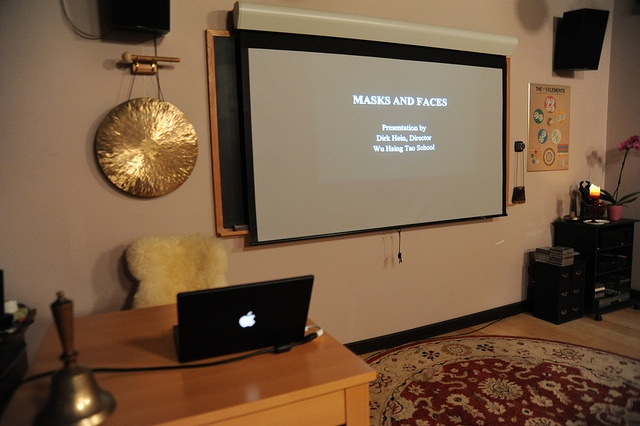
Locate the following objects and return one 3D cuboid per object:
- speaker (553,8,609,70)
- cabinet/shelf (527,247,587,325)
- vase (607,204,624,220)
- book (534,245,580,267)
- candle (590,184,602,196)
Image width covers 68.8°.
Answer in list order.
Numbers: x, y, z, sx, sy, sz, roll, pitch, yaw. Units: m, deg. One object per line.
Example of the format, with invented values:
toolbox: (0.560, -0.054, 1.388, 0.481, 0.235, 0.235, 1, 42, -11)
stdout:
speaker: (2.912, -1.922, 5.227, 0.536, 0.616, 0.261, 1, 8, 22)
cabinet/shelf: (2.653, 0.844, 5.193, 0.436, 0.619, 0.489, -5, 4, -32)
vase: (3.428, -0.014, 5.382, 0.155, 0.172, 0.159, -1, 3, -1)
book: (2.638, 0.460, 5.112, 0.286, 0.098, 0.252, -5, 11, -34)
candle: (3.177, -0.265, 5.384, 0.133, 0.146, 0.127, 0, -1, -21)
